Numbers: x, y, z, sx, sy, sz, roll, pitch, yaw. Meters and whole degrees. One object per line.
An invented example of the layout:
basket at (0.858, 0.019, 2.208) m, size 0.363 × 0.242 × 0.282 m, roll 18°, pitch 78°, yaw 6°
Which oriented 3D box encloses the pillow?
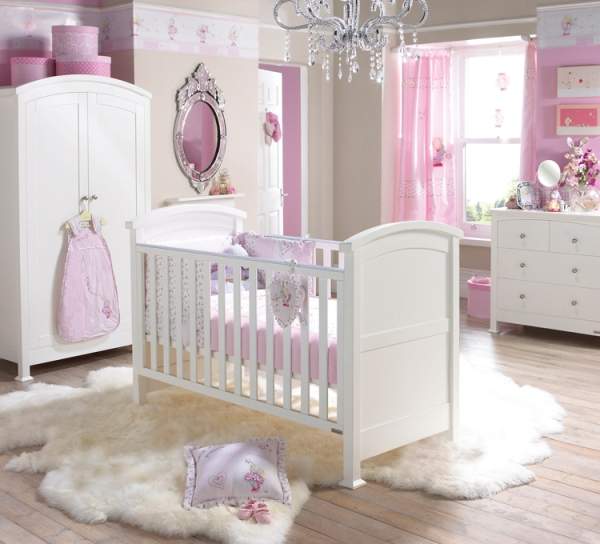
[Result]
pillow at (-0.231, 0.688, 2.031) m, size 0.369 × 0.094 × 0.362 m, roll -1°, pitch 7°, yaw -6°

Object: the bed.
bed at (-0.012, 0.307, 2.684) m, size 0.698 × 0.965 × 1.393 m, roll -5°, pitch -1°, yaw -38°

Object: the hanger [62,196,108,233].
hanger at (-1.281, -0.347, 3.422) m, size 0.032 × 0.244 × 0.274 m, roll 8°, pitch 11°, yaw 38°
